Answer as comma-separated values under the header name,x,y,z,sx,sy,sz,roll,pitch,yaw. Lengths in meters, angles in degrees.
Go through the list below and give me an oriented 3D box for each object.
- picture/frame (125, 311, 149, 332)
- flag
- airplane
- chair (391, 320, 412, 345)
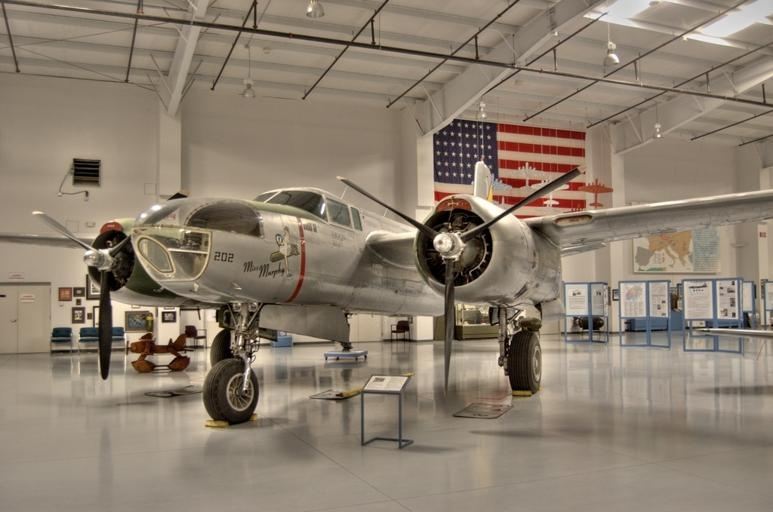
name,x,y,z,sx,sy,sz,roll,pitch,yaw
picture/frame,-9.057,2.385,22.952,0.825,0.648,0.062,2,-16,-30
flag,4.436,-3.406,24.152,5.901,3.090,0.122,1,-5,-18
airplane,-0.446,0.652,13.335,12.432,4.814,4.235,0,8,6
chair,0.596,3.084,25.790,0.830,1.063,0.850,-4,-7,39
